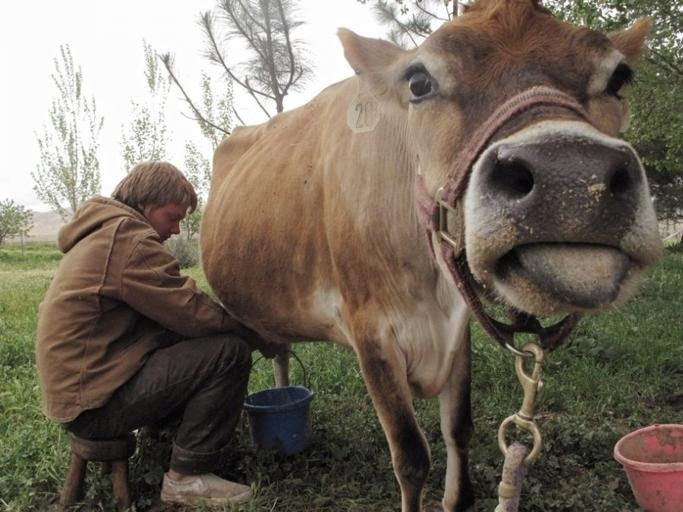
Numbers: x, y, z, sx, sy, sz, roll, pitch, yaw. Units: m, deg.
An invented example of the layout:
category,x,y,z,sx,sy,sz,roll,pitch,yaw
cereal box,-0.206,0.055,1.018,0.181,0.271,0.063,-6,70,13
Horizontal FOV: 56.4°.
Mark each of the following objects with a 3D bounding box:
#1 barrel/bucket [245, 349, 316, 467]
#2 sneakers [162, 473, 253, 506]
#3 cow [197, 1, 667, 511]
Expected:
category,x,y,z,sx,sy,sz,roll,pitch,yaw
barrel/bucket,-0.491,1.069,4.944,0.494,0.839,0.575,-5,2,4
sneakers,-0.884,1.595,4.324,0.575,0.256,0.250,0,-2,-7
cow,0.413,0.148,3.821,1.046,2.310,2.826,-5,2,-32
